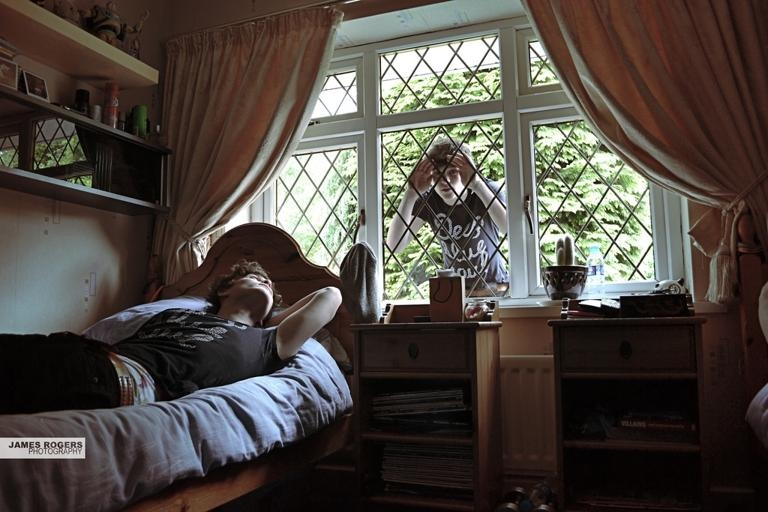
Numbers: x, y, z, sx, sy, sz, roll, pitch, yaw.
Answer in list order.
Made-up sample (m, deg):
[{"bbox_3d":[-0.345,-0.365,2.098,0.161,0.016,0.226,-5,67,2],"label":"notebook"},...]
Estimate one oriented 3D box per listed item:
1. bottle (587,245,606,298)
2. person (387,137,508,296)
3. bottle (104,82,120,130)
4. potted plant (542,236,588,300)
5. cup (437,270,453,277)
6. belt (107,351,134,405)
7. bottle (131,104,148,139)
[{"bbox_3d":[1.118,0.063,2.926,0.087,0.278,0.123,-1,-7,23],"label":"bottle"},{"bbox_3d":[0.435,-0.183,3.222,0.638,0.975,0.518,-12,-8,20],"label":"person"},{"bbox_3d":[-1.530,-0.843,3.123,0.070,0.246,0.057,2,-2,-43],"label":"bottle"},{"bbox_3d":[0.933,0.077,2.975,0.270,0.430,0.282,-1,-2,16],"label":"potted plant"},{"bbox_3d":[0.294,0.081,2.649,0.076,0.035,0.080,2,-6,0],"label":"cup"},{"bbox_3d":[-0.964,0.467,2.118,0.130,0.164,0.105,-9,-1,39],"label":"belt"},{"bbox_3d":[-1.409,-0.785,3.229,0.068,0.174,0.072,6,15,-2],"label":"bottle"}]
